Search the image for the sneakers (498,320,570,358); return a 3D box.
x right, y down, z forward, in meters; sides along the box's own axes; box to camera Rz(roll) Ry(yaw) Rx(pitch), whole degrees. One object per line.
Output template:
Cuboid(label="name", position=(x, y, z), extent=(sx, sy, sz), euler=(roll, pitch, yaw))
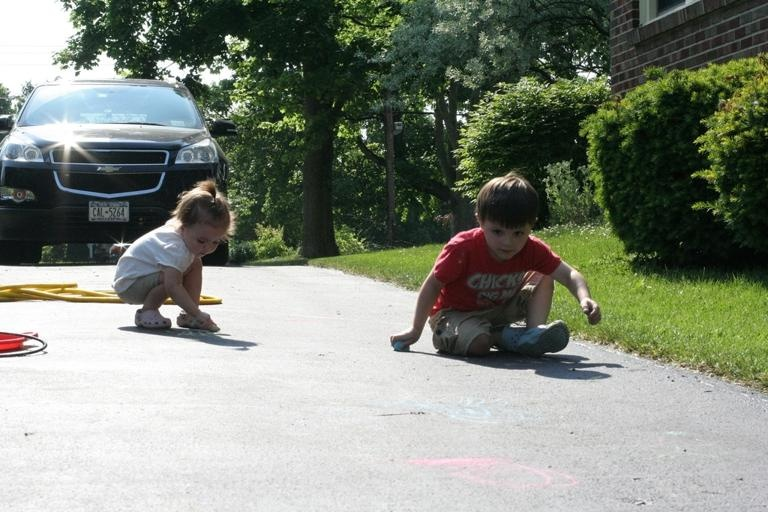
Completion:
Cuboid(label="sneakers", position=(1.022, 0.569, 6.285), extent=(0.189, 0.240, 0.550), euler=(14, -22, -42))

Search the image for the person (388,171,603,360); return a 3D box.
Cuboid(label="person", position=(0.818, 0.104, 6.270), extent=(1.033, 1.074, 1.518), euler=(-1, -2, -41))

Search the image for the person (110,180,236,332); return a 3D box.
Cuboid(label="person", position=(-1.625, -0.004, 6.752), extent=(1.046, 1.230, 1.002), euler=(0, 2, 0))

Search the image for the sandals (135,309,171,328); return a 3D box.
Cuboid(label="sandals", position=(-1.628, 0.447, 6.636), extent=(0.230, 0.088, 0.120), euler=(0, 0, 39))

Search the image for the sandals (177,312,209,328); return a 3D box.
Cuboid(label="sandals", position=(-1.366, 0.467, 6.685), extent=(0.256, 0.104, 0.089), euler=(7, 18, 16))
